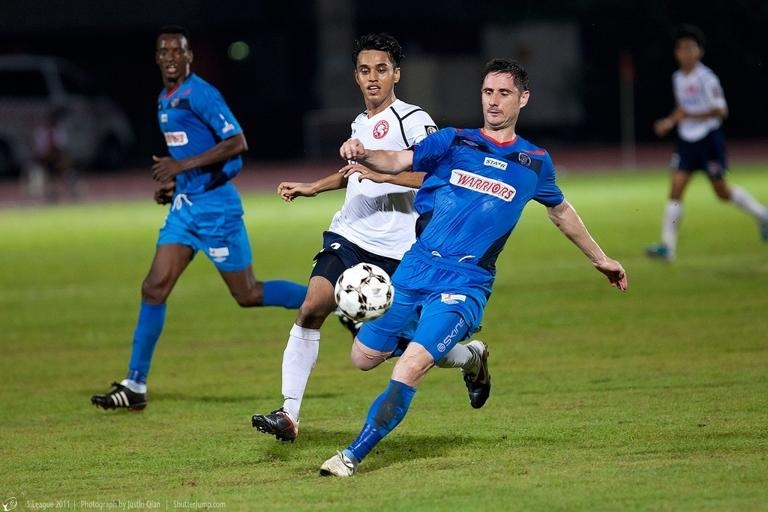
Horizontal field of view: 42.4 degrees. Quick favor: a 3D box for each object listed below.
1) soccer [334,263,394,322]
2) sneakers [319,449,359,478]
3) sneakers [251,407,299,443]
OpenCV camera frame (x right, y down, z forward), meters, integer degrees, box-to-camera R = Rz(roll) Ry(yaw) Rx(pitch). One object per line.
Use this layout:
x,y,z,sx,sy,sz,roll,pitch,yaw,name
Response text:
-0.162,0.300,8.012,0.507,0.431,0.465,-2,-8,-3,soccer
-0.336,1.586,7.594,0.300,0.146,0.143,0,39,30,sneakers
-0.882,1.382,8.107,0.460,0.248,0.174,26,-31,-20,sneakers
